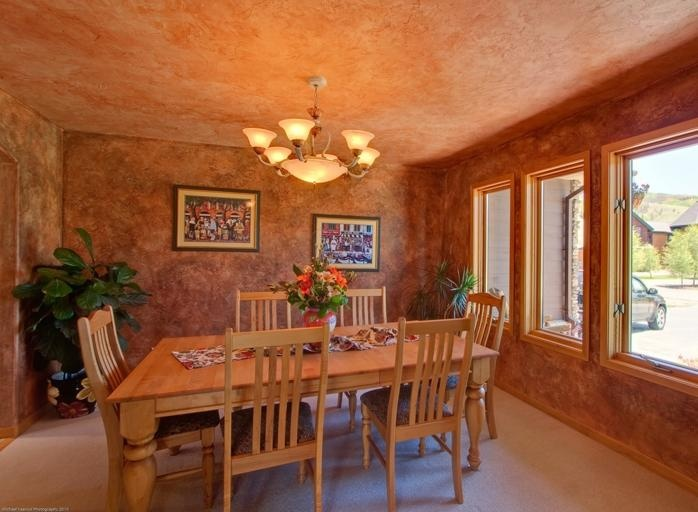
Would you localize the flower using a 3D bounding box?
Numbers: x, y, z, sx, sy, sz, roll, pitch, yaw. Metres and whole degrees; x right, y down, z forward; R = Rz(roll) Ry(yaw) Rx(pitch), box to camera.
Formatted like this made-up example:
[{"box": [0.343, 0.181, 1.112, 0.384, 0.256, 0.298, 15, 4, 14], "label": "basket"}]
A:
[{"box": [-0.306, 0.223, 4.071, 0.615, 0.457, 0.571, 4, -8, -33], "label": "flower"}]

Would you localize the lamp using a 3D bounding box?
[{"box": [-0.311, -1.079, 4.140, 1.105, 0.755, 1.094, 2, 4, -13], "label": "lamp"}]
